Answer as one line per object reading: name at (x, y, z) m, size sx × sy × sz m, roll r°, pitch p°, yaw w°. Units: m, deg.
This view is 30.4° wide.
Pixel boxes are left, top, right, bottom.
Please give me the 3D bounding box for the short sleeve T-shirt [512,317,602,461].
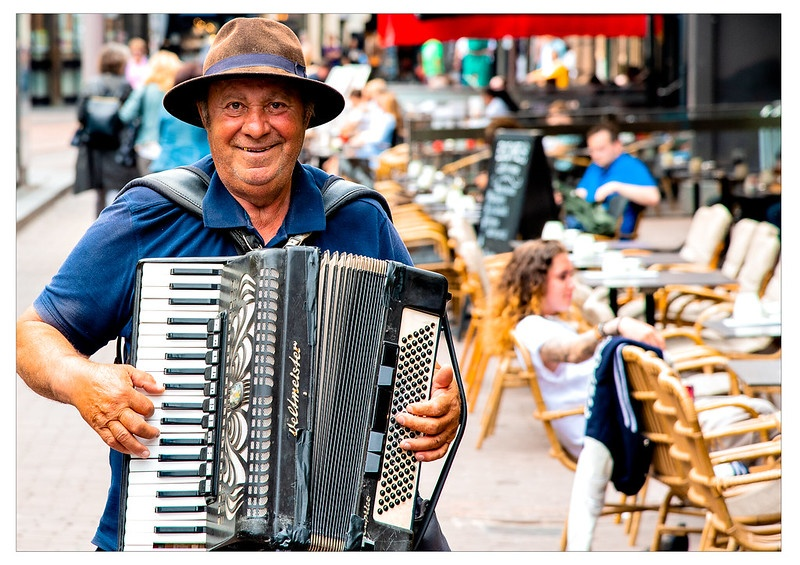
short sleeve T-shirt at (1.114, 0.734, 10.307) m, size 0.304 × 0.958 × 0.725 m, roll -1°, pitch 5°, yaw -25°
